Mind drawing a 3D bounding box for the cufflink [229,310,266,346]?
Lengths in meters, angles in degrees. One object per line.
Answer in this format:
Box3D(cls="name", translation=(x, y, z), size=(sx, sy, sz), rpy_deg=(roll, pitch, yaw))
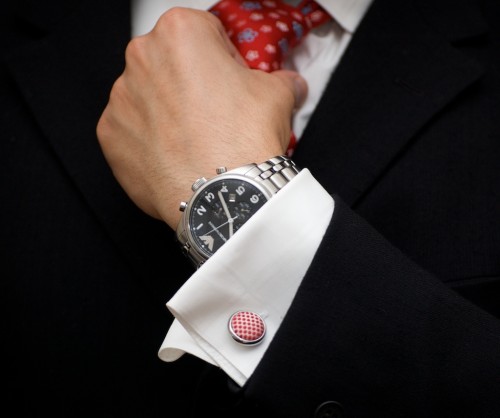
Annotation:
Box3D(cls="cufflink", translation=(-0.004, 0.227, 0.883), size=(0.069, 0.021, 0.061), rpy_deg=(3, 78, 3))
